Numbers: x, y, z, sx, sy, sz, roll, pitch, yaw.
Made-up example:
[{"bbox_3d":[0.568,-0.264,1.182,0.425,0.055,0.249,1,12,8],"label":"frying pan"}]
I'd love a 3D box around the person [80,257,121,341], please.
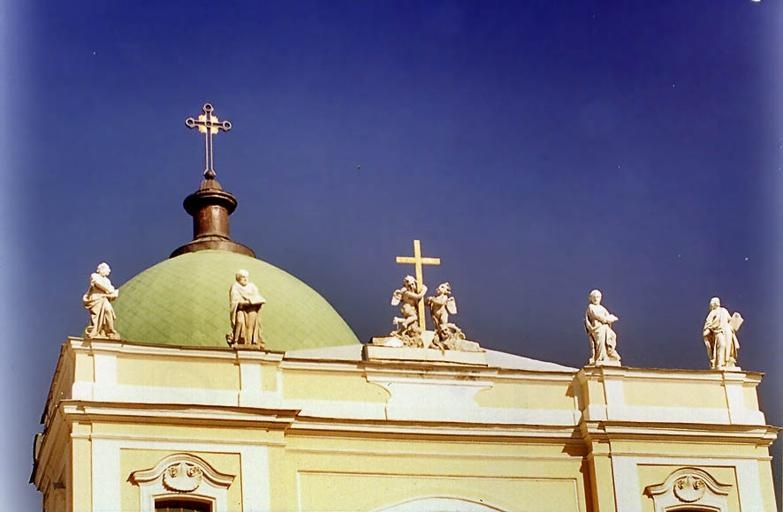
[{"bbox_3d":[-7.826,1.202,44.745,0.704,2.020,1.040,-13,-17,38],"label":"person"}]

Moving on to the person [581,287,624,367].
[{"bbox_3d":[6.048,2.098,47.686,1.090,2.078,0.781,-3,-1,-4],"label":"person"}]

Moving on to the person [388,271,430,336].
[{"bbox_3d":[0.480,1.563,47.024,0.838,2.093,0.837,14,-1,-16],"label":"person"}]
